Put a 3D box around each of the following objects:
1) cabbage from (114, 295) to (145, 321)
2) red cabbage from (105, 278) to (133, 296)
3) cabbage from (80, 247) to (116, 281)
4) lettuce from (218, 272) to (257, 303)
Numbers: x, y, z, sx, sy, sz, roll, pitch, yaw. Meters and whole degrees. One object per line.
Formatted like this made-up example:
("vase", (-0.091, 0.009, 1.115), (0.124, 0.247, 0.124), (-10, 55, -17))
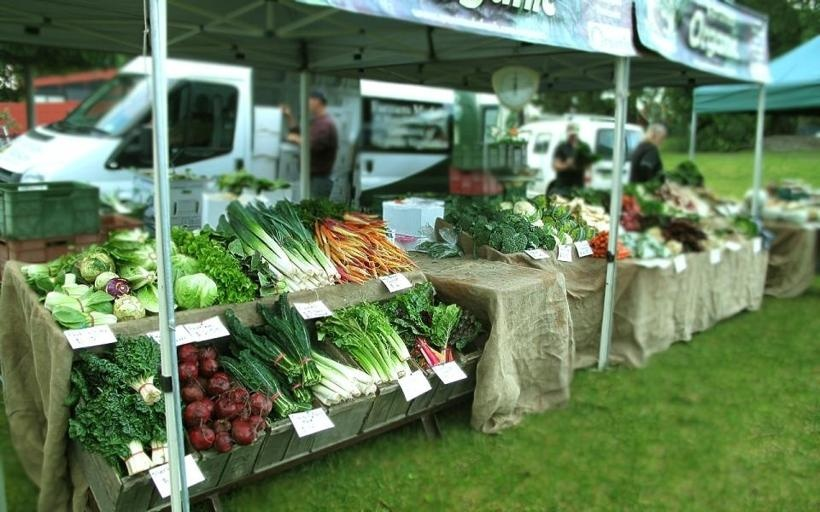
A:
("cabbage", (-2.359, 0.438, 5.371), (0.236, 0.183, 0.151), (-5, 12, -8))
("red cabbage", (-2.488, 0.271, 5.458), (0.189, 0.142, 0.123), (-10, 14, -26))
("cabbage", (-2.726, 0.077, 5.607), (0.259, 0.258, 0.298), (-5, -3, -24))
("lettuce", (-1.545, 0.293, 5.710), (0.271, 0.185, 0.260), (12, 23, 39))
